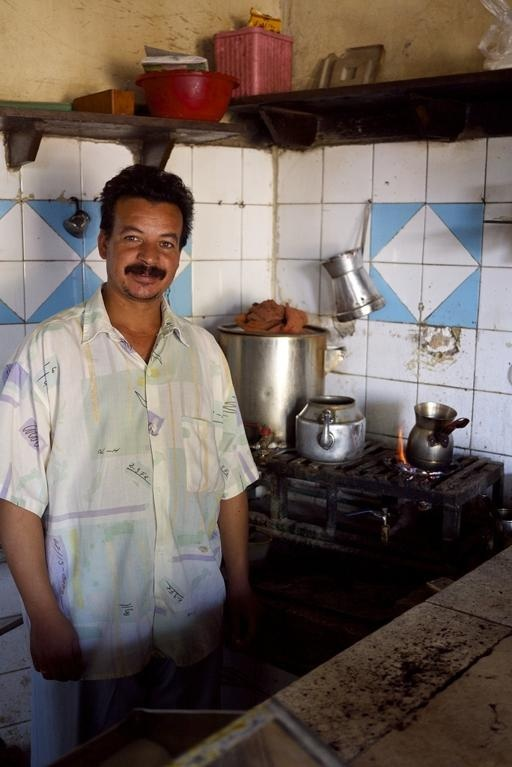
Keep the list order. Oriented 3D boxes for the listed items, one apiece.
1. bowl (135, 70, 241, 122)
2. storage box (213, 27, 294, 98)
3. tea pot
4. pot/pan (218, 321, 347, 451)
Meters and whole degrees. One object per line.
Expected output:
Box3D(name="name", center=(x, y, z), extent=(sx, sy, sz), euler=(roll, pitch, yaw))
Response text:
Box3D(name="bowl", center=(-0.208, -0.870, 2.002), extent=(0.335, 0.113, 0.318), euler=(1, 15, 0))
Box3D(name="storage box", center=(0.001, -1.145, 2.332), extent=(0.171, 0.197, 0.295), euler=(13, 26, 29))
Box3D(name="tea pot", center=(0.230, 0.140, 2.013), extent=(0.170, 0.133, 0.222), euler=(4, 9, 23))
Box3D(name="pot/pan", center=(-0.015, -0.047, 2.270), extent=(0.567, 0.492, 0.353), euler=(5, 9, 30))
